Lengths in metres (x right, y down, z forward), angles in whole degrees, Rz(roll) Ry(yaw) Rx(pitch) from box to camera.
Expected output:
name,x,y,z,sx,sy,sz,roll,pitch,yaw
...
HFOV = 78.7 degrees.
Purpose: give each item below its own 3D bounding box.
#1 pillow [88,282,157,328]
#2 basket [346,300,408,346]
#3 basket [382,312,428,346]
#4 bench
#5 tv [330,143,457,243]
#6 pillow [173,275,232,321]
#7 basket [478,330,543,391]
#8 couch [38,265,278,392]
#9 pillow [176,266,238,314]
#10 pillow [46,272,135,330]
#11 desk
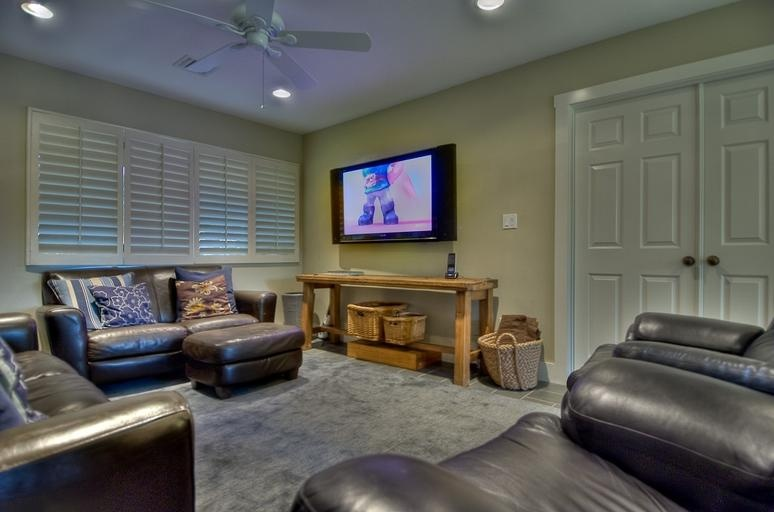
name,x,y,z,sx,sy,sz,roll,pitch,yaw
pillow,-2.313,0.435,4.169,0.144,0.513,0.561,-35,-27,23
basket,-0.151,0.669,4.843,0.406,0.244,0.524,-2,-5,27
basket,0.174,0.730,4.736,0.334,0.266,0.433,1,-1,40
bench,-1.353,0.916,4.336,0.828,0.551,1.173,-5,-1,-38
tv,0.028,-0.609,5.156,1.837,0.926,0.200,0,1,43
pillow,-1.743,0.377,4.573,0.542,0.457,0.249,-7,3,-22
basket,1.087,0.895,4.133,0.525,0.457,0.471,-6,-7,37
couch,-2.096,0.615,4.479,1.015,1.032,1.956,-1,-1,45
pillow,-1.758,0.342,4.564,0.454,0.386,0.167,2,-21,-29
pillow,-2.687,0.290,4.281,0.761,0.217,0.779,-23,24,-36
desk,0.017,0.639,4.849,2.097,0.858,0.693,2,4,35
